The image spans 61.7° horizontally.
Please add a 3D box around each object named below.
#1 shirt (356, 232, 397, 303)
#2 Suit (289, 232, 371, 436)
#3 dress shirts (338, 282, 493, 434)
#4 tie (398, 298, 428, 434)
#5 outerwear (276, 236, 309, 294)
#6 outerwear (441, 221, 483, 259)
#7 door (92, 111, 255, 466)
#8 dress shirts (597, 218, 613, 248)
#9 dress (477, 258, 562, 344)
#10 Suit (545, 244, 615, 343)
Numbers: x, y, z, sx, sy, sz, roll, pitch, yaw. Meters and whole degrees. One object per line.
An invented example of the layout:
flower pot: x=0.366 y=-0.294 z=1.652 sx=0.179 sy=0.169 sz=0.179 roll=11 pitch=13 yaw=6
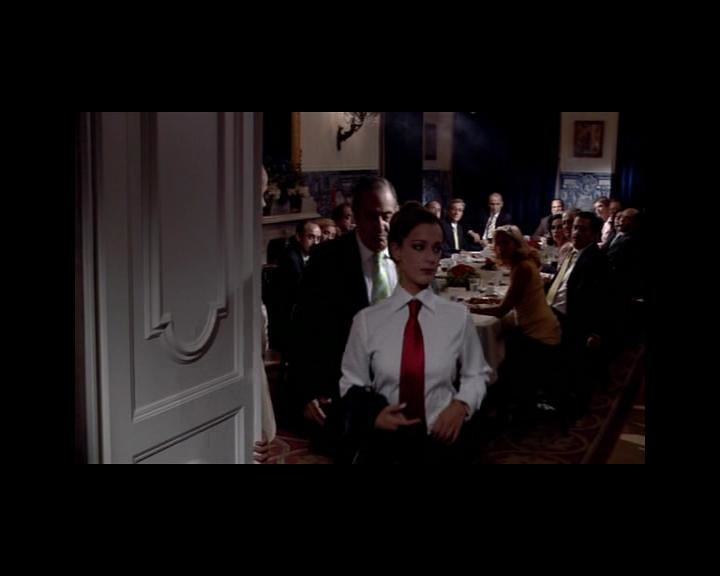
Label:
shirt: x=0.101 y=-0.082 z=2.823 sx=0.132 sy=0.051 sz=0.361 roll=-6 pitch=59 yaw=-16
Suit: x=-0.168 y=0.164 z=2.833 sx=0.180 sy=0.773 sz=0.499 roll=5 pitch=-3 yaw=-34
dress shirts: x=0.213 y=0.180 z=2.745 sx=0.856 sy=0.901 sz=0.495 roll=1 pitch=6 yaw=3
tie: x=0.217 y=0.315 z=2.522 sx=0.108 sy=0.503 sz=0.136 roll=-1 pitch=13 yaw=4
outerwear: x=-0.459 y=-0.157 z=4.041 sx=0.143 sy=0.370 sz=0.349 roll=10 pitch=12 yaw=-10
outerwear: x=0.688 y=-0.336 z=4.075 sx=0.179 sy=0.348 sz=0.150 roll=5 pitch=25 yaw=14
door: x=-0.689 y=0.108 z=2.484 sx=0.142 sy=1.767 sz=0.704 roll=19 pitch=22 yaw=39
dress shirts: x=1.598 y=-0.371 z=3.937 sx=0.059 sy=0.178 sz=0.125 roll=5 pitch=15 yaw=5
dress: x=0.990 y=0.099 z=3.730 sx=0.296 sy=0.638 sz=0.207 roll=12 pitch=36 yaw=45
Suit: x=1.397 y=-0.045 z=3.894 sx=0.243 sy=0.487 sz=0.343 roll=-4 pitch=17 yaw=-28
